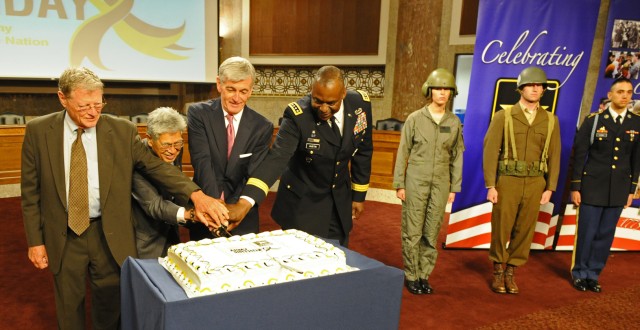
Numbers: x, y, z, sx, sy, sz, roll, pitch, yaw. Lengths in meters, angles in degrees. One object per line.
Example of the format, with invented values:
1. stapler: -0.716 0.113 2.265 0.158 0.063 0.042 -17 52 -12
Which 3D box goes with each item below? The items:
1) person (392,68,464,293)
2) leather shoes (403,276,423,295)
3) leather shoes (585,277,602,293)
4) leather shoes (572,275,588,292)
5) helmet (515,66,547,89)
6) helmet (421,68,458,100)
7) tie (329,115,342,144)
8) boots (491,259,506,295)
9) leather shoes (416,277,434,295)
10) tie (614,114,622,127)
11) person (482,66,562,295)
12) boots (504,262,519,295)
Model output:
1. person: 1.632 0.244 6.636 0.913 3.357 1.115 9 18 28
2. leather shoes: 1.441 1.881 6.660 0.132 0.118 0.288 -3 8 -26
3. leather shoes: 4.305 1.897 6.841 0.143 0.121 0.309 -2 4 -5
4. leather shoes: 4.115 1.897 6.819 0.126 0.089 0.246 0 3 2
5. helmet: 3.215 -1.337 6.566 0.400 0.223 0.376 1 13 15
6. helmet: 1.853 -1.268 6.747 0.557 0.394 0.494 1 1 -7
7. tie: 0.215 -0.468 5.617 0.116 0.343 0.135 -13 20 -38
8. boots: 2.811 1.760 6.778 0.203 0.335 0.528 6 14 12
9. leather shoes: 1.629 1.884 6.641 0.150 0.122 0.310 -1 2 -16
10. tie: 4.663 -0.700 6.730 0.091 0.148 0.094 7 17 23
11. person: 3.110 0.236 6.662 1.061 3.414 0.845 -5 17 -18
12. boots: 2.983 1.766 6.767 0.188 0.346 0.534 2 8 15
